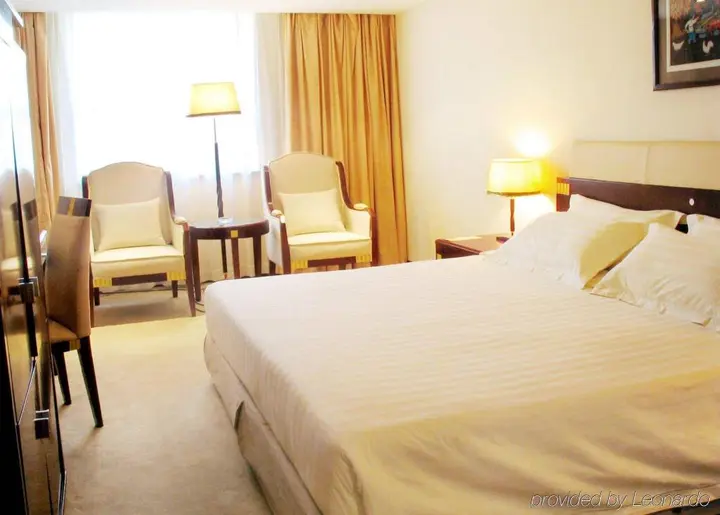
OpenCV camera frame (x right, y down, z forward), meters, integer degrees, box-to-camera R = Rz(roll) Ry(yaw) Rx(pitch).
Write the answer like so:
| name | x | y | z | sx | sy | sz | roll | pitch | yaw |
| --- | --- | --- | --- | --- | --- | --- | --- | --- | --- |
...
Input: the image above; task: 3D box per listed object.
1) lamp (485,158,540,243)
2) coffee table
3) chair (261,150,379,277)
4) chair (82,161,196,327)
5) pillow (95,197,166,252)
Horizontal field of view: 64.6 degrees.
| name | x | y | z | sx | sy | sz | roll | pitch | yaw |
| --- | --- | --- | --- | --- | --- | --- | --- | --- | --- |
| lamp | 1.157 | -0.441 | 4.304 | 0.403 | 0.589 | 0.379 | -14 | 18 | -40 |
| coffee table | -1.197 | -0.038 | 5.214 | 0.725 | 0.806 | 0.715 | -7 | 10 | -28 |
| chair | -0.375 | -0.310 | 5.246 | 1.014 | 1.219 | 1.095 | -2 | 12 | -2 |
| chair | -1.900 | -0.170 | 4.830 | 0.948 | 1.223 | 0.963 | -2 | 10 | -3 |
| pillow | -2.008 | -0.277 | 4.900 | 0.431 | 0.325 | 0.156 | -8 | -32 | -20 |
